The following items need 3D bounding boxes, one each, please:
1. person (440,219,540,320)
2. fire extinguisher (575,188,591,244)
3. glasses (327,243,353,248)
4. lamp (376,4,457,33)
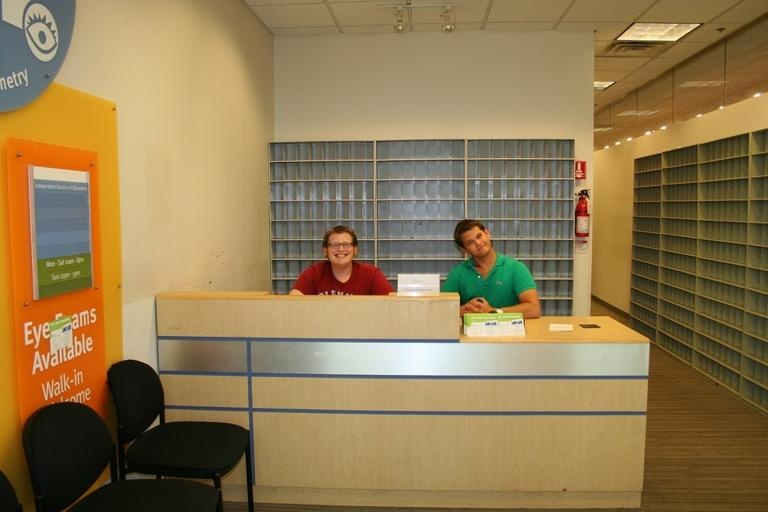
[{"bbox_3d":[0.849,0.172,4.884,0.918,0.935,0.662,-6,12,20],"label":"person"},{"bbox_3d":[2.404,-0.487,6.847,0.186,0.629,0.194,4,12,16],"label":"fire extinguisher"},{"bbox_3d":[-0.360,-0.086,4.613,0.190,0.047,0.039,-1,12,-6],"label":"glasses"},{"bbox_3d":[0.380,-2.556,6.163,0.760,0.248,1.073,2,12,7],"label":"lamp"}]
